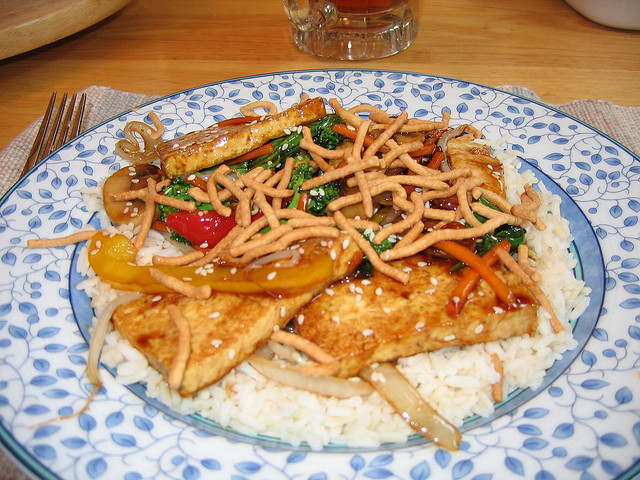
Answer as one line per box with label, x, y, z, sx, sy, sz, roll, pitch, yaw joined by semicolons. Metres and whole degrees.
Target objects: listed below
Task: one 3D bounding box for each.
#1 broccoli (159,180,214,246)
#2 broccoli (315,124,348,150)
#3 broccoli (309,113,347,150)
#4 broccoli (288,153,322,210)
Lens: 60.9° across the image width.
broccoli;-0.896;-0.197;3.579;0.430;0.144;0.419;12;62;12
broccoli;0.065;-0.679;3.648;0.217;0.073;0.196;28;46;19
broccoli;0.070;-0.736;3.624;0.258;0.080;0.249;-40;71;-16
broccoli;-0.136;-0.324;3.484;0.116;0.389;0.299;10;104;11
